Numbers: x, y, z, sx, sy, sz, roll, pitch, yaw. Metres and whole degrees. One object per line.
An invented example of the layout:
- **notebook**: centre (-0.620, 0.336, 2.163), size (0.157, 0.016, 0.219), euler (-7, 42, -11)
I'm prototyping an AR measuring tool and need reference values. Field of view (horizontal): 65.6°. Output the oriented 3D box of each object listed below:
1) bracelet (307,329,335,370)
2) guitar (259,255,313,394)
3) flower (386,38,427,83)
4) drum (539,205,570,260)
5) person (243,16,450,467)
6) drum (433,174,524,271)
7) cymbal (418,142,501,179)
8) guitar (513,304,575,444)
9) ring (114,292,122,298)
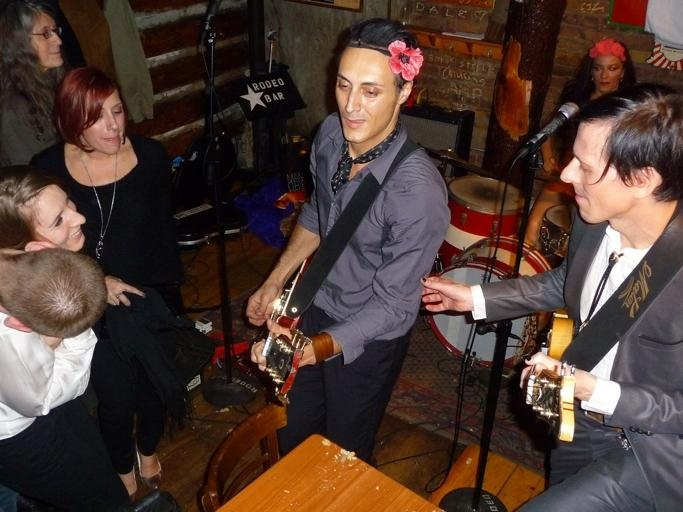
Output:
- **bracelet**: centre (-0.087, 0.405, 2.287), size (0.102, 0.123, 0.096), euler (-9, 50, 6)
- **guitar**: centre (-0.230, 0.312, 2.257), size (0.049, 0.510, 0.179), euler (16, -10, -29)
- **flower**: centre (0.292, -0.857, 2.323), size (0.101, 0.169, 0.238), euler (23, 34, 34)
- **drum**: centre (1.708, -0.181, 4.246), size (0.144, 0.423, 0.279), euler (17, -9, -38)
- **person**: centre (-0.065, 0.326, 2.786), size (0.801, 2.802, 1.027), euler (-3, 31, -18)
- **drum**: centre (1.005, -0.216, 3.872), size (0.459, 0.488, 0.472), euler (-25, 45, -25)
- **cymbal**: centre (0.943, -0.786, 4.371), size (0.694, 0.199, 0.547), euler (16, 9, -4)
- **guitar**: centre (0.984, 0.576, 2.575), size (0.146, 0.421, 0.956), euler (6, 2, 13)
- **ring**: centre (-1.156, 0.201, 2.739), size (0.028, 0.032, 0.009), euler (1, -2, -19)
